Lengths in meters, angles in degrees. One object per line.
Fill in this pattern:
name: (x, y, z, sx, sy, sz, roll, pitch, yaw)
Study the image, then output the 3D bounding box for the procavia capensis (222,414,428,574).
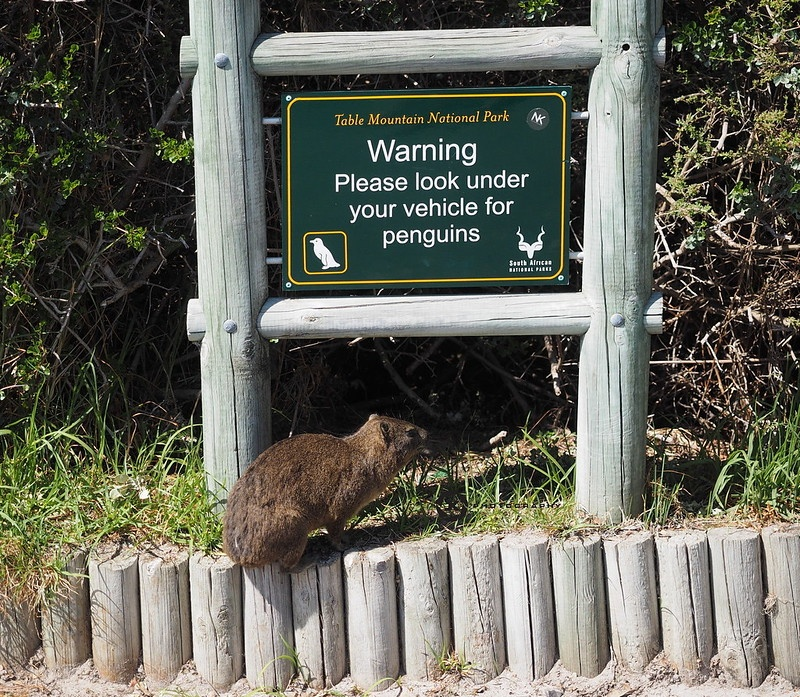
procavia capensis: (-0.369, 0.682, 7.185, 1.007, 0.527, 0.303, -18, 20, -30)
